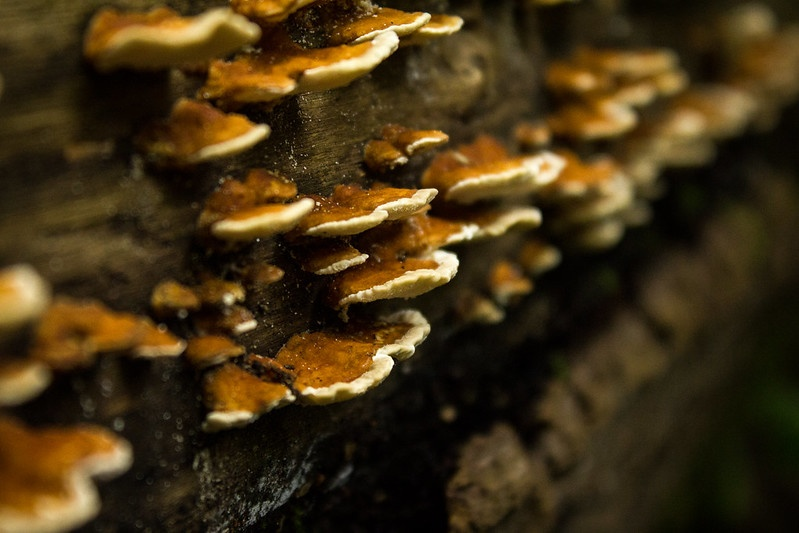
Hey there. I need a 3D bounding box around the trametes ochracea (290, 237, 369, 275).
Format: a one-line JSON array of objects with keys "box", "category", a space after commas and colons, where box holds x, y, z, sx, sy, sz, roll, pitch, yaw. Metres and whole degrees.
[{"box": [-0.549, -0.082, 6.849, 0.379, 0.100, 0.307, 12, 30, 7], "category": "trametes ochracea"}]
